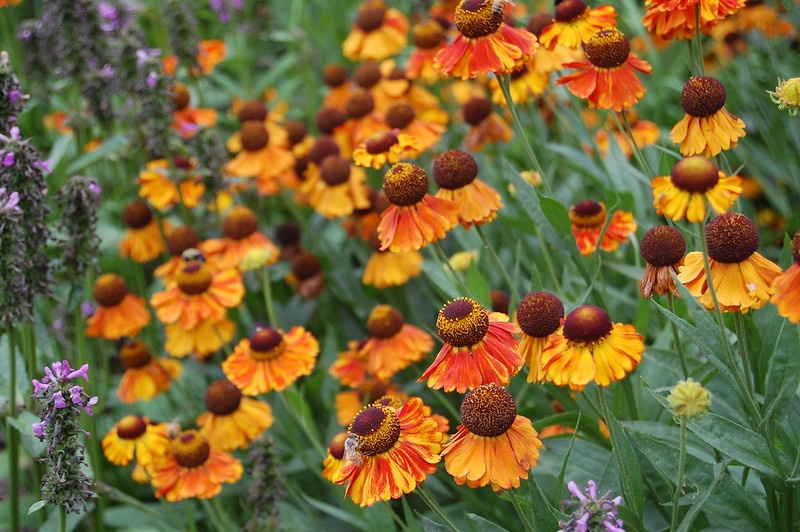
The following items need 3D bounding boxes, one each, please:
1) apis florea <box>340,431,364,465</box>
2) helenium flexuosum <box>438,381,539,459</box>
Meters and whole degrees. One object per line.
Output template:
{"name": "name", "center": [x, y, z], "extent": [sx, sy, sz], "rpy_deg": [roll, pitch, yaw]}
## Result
{"name": "apis florea", "center": [-0.123, 0.495, 2.178], "extent": [0.049, 0.074, 0.065], "rpy_deg": [1, 55, 26]}
{"name": "helenium flexuosum", "center": [0.238, 0.400, 2.208], "extent": [0.279, 0.257, 0.158], "rpy_deg": [-37, 44, 45]}
